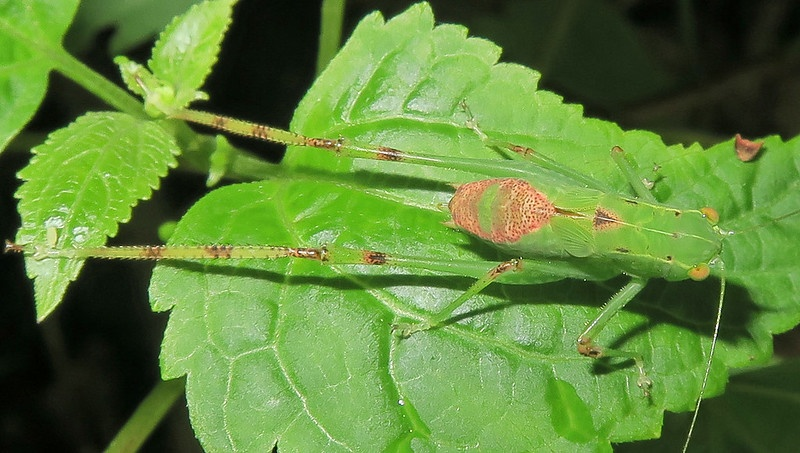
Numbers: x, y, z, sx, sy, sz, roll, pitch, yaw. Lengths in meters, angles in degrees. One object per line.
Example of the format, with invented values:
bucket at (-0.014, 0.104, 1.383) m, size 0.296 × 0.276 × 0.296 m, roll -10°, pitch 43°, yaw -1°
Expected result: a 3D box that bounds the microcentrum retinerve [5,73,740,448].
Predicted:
microcentrum retinerve at (0.137, 0.130, 5.997) m, size 5.188 × 2.219 × 1.880 m, roll 13°, pitch 75°, yaw 6°
